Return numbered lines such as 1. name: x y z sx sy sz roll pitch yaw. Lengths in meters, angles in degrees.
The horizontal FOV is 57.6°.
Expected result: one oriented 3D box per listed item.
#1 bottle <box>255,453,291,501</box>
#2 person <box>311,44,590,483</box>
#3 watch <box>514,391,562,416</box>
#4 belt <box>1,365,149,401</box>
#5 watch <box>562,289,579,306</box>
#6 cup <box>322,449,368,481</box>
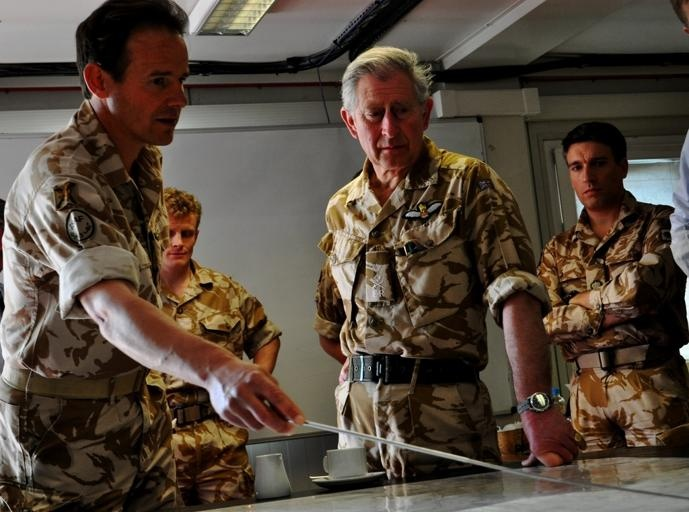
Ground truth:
1. bottle: -0.228 0.631 1.826 0.134 0.110 0.119 -5 -7 -2
2. person: 0.244 -0.056 1.968 0.329 1.364 0.814 1 -11 -38
3. watch: 0.491 0.370 1.593 0.100 0.055 0.054 -5 -8 0
4. belt: -0.710 0.334 1.659 0.197 0.038 0.169 2 0 -31
5. watch: 1.122 0.204 3.130 0.055 0.070 0.027 -8 -37 47
6. cup: -0.004 0.609 1.843 0.123 0.067 0.087 -7 -11 18
